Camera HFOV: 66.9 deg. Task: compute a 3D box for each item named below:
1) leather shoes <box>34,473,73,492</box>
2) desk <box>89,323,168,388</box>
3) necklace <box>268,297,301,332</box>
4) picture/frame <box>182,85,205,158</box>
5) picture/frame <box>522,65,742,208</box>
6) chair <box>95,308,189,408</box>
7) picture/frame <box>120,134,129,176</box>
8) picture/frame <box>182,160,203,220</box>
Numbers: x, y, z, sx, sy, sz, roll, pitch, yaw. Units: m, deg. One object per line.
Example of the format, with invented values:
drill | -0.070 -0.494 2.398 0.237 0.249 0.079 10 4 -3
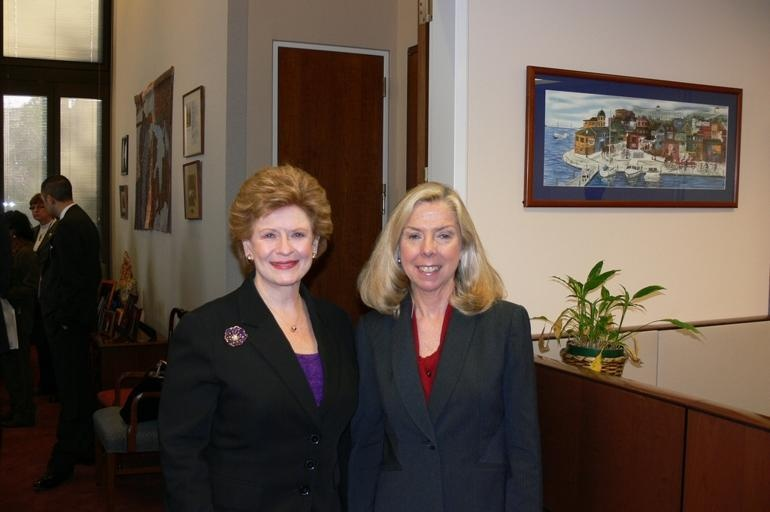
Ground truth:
leather shoes | -2.711 1.820 4.771 0.098 0.124 0.290 2 -4 35
desk | -2.605 0.891 6.031 0.556 0.522 1.016 3 19 -31
necklace | -0.416 0.231 2.516 0.128 0.151 0.143 -23 2 -13
picture/frame | -1.735 -1.231 5.303 0.057 0.826 0.654 3 -5 -32
picture/frame | 1.808 -0.800 4.091 1.687 0.962 0.062 0 3 -10
chair | -1.960 0.801 4.568 0.359 0.599 1.070 1 2 -15
picture/frame | -3.629 -1.415 8.116 0.042 0.633 0.592 1 -2 -22
picture/frame | -1.755 -0.619 5.333 0.062 0.651 0.515 2 -4 -27
